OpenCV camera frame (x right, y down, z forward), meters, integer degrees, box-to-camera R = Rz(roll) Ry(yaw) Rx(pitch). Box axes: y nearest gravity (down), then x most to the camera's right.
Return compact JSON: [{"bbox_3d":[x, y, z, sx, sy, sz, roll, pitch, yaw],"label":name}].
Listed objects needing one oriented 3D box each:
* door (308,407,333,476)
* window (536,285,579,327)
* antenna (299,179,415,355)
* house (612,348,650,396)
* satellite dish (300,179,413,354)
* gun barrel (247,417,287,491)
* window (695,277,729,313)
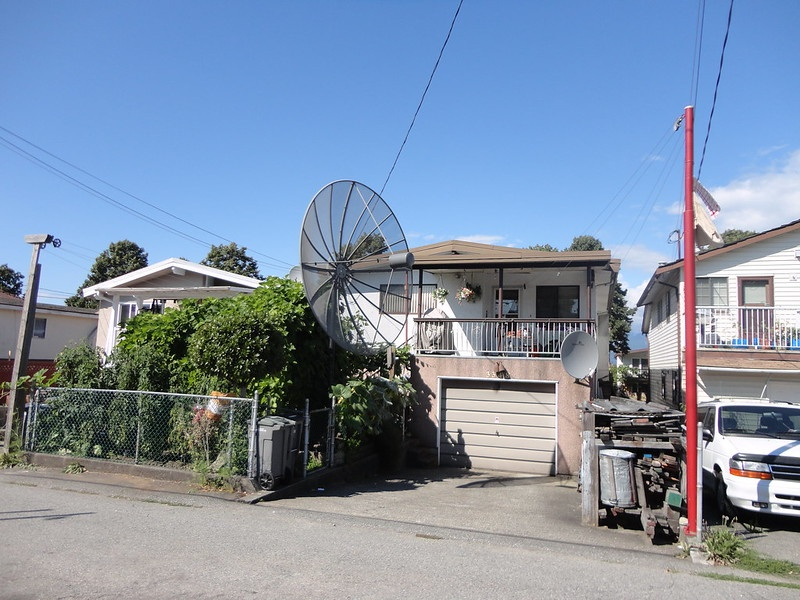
[{"bbox_3d":[-1.700,2.865,12.406,0.532,1.238,0.579,1,1,-28],"label":"door"},{"bbox_3d":[4.826,0.195,17.983,1.038,1.256,0.074,0,-7,4],"label":"window"},{"bbox_3d":[-0.897,-0.732,12.918,3.272,2.982,2.191,17,-14,-37],"label":"antenna"},{"bbox_3d":[13.027,4.092,33.332,1.828,3.127,2.673,-3,-10,22],"label":"house"},{"bbox_3d":[-0.936,-0.652,12.625,0.776,3.697,3.094,3,1,26],"label":"satellite dish"},{"bbox_3d":[-2.353,2.810,10.924,0.586,1.229,0.875,-1,-6,22],"label":"gun barrel"},{"bbox_3d":[9.552,-0.142,18.053,0.901,1.087,0.066,-1,-9,12],"label":"window"}]
